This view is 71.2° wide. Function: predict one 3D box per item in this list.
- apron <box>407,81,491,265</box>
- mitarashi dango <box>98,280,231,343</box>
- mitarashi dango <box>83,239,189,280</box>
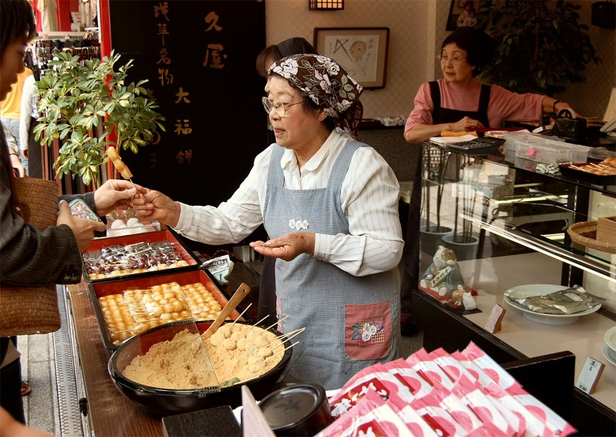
[{"bbox_3d":[1.037,-0.411,3.596,0.673,1.718,0.578,13,22,29],"label":"apron"},{"bbox_3d":[-0.708,0.360,2.074,0.532,0.170,0.459,-9,19,-35],"label":"mitarashi dango"},{"bbox_3d":[-1.084,0.256,2.617,0.527,0.192,0.591,-11,16,-32],"label":"mitarashi dango"}]
